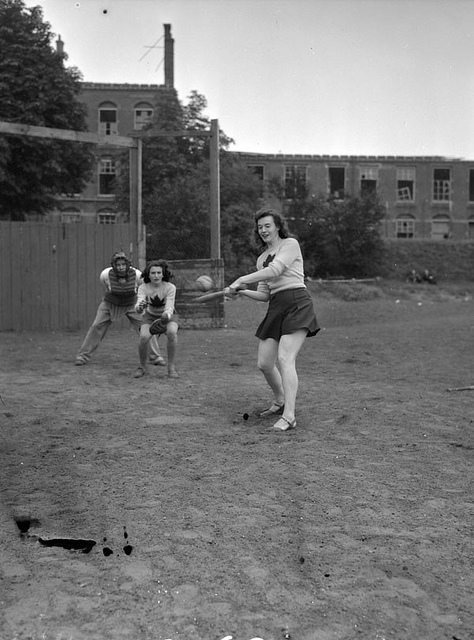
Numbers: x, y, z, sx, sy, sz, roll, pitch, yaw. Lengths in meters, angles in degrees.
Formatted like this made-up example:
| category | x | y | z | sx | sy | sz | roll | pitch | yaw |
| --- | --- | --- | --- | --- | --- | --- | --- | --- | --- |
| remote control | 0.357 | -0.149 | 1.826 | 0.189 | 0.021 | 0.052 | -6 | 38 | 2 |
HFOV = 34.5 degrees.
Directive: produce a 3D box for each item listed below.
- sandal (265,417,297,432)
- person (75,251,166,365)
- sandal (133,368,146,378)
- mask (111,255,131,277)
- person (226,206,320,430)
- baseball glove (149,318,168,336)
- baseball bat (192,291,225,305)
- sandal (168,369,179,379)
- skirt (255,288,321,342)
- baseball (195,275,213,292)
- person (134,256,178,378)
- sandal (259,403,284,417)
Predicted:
| category | x | y | z | sx | sy | sz | roll | pitch | yaw |
| --- | --- | --- | --- | --- | --- | --- | --- | --- | --- |
| sandal | 0.348 | 0.795 | 5.769 | 0.259 | 0.121 | 0.092 | 4 | -6 | -26 |
| person | -1.538 | -0.133 | 9.876 | 1.028 | 1.586 | 0.839 | 3 | 16 | -3 |
| sandal | -1.102 | 0.605 | 8.623 | 0.087 | 0.079 | 0.267 | 0 | 1 | 0 |
| mask | -1.457 | -0.688 | 9.589 | 0.189 | 0.266 | 0.252 | -2 | 0 | -11 |
| person | 0.276 | -0.019 | 5.957 | 0.630 | 1.691 | 0.622 | -3 | 5 | -33 |
| baseball glove | -0.903 | 0.074 | 8.752 | 0.198 | 0.204 | 0.339 | -1 | 4 | -12 |
| baseball bat | -0.216 | -0.166 | 5.667 | 0.077 | 0.107 | 0.388 | -19 | -7 | 34 |
| sandal | -0.729 | 0.616 | 8.641 | 0.070 | 0.080 | 0.191 | -1 | -4 | -10 |
| skirt | 0.388 | -0.041 | 5.984 | 0.508 | 0.442 | 0.323 | -6 | -14 | 30 |
| baseball | -0.230 | -0.267 | 5.988 | 0.115 | 0.129 | 0.120 | -5 | 24 | -32 |
| person | -0.923 | -0.030 | 8.830 | 0.467 | 1.308 | 0.718 | 0 | 4 | -5 |
| sandal | 0.297 | 0.766 | 6.386 | 0.248 | 0.112 | 0.081 | 0 | -3 | -13 |
